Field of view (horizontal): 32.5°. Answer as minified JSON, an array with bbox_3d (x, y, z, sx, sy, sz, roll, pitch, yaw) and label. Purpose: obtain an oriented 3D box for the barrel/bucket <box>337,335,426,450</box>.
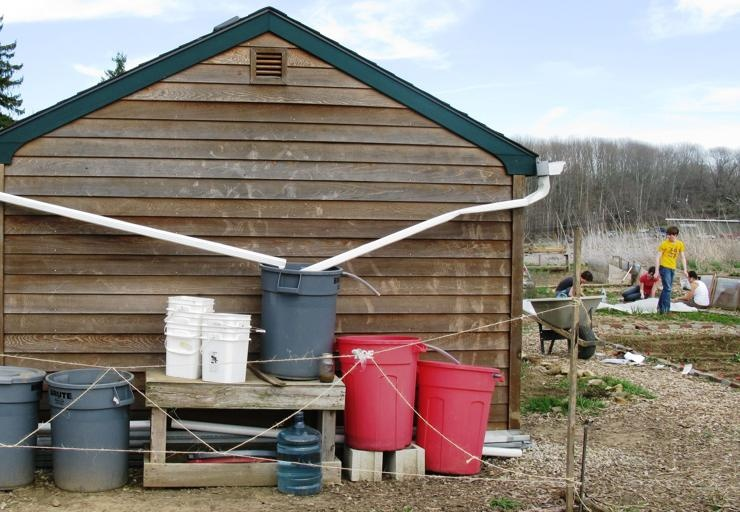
[{"bbox_3d":[-0.398,1.787,16.867,2.058,1.381,1.466,1,-5,-5],"label":"barrel/bucket"}]
